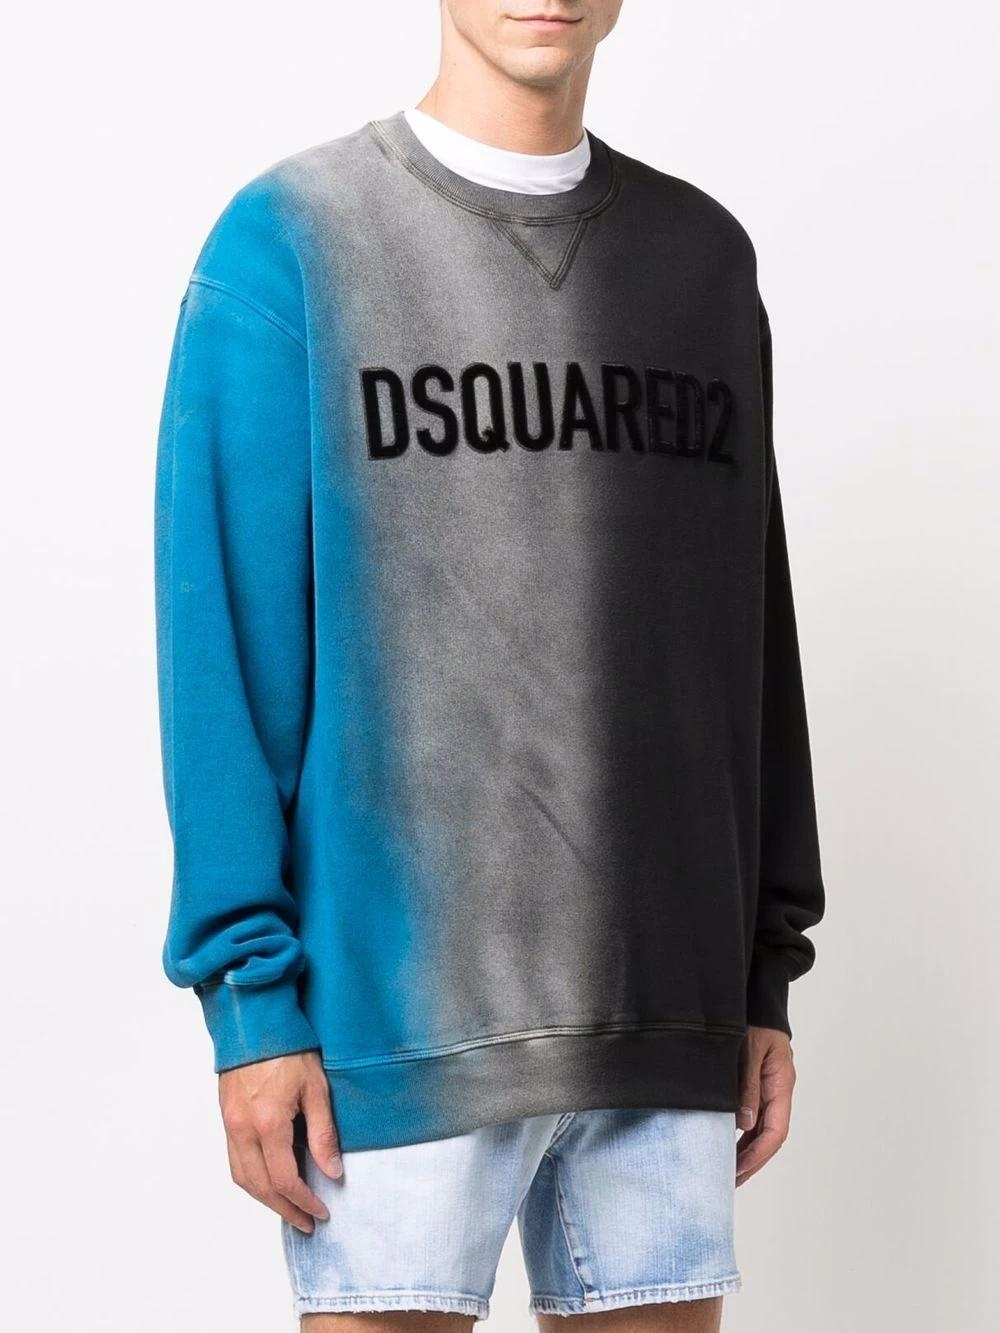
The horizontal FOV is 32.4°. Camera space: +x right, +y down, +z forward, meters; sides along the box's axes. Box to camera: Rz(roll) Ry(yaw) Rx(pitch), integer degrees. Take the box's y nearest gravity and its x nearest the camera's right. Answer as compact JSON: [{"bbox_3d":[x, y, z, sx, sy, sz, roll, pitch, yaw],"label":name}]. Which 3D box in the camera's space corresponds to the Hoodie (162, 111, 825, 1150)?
[{"bbox_3d":[0.007,-0.047,1.418,0.632,0.839,0.289,-12,9,-37],"label":"Hoodie"}]
